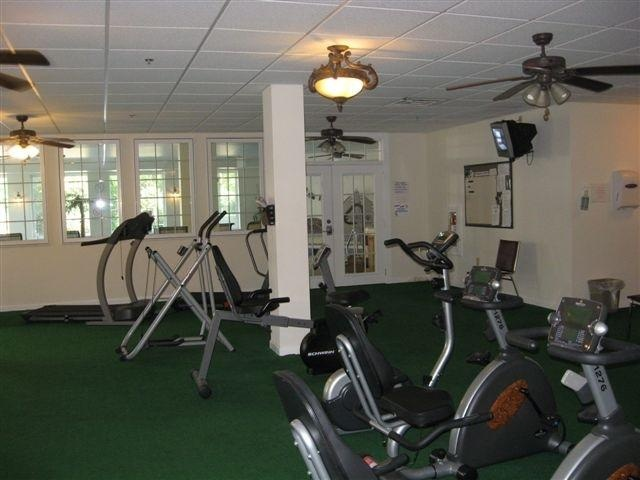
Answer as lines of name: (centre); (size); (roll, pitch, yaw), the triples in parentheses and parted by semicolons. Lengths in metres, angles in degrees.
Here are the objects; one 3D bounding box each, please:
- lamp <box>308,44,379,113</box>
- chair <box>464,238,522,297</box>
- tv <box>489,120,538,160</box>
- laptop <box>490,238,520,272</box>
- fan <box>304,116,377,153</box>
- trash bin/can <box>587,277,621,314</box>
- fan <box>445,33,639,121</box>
lamp: (0.227, -1.452, 4.375); (0.586, 0.585, 0.439); (2, 10, 24)
chair: (2.830, 0.464, 7.849); (0.672, 0.783, 0.539); (-8, 14, -13)
tv: (2.872, -1.506, 7.591); (0.664, 0.529, 0.797); (3, 5, -9)
laptop: (3.006, 0.253, 7.773); (0.335, 0.464, 0.736); (1, 9, 15)
fan: (0.176, -1.582, 7.487); (1.401, 0.566, 1.303); (-1, 8, 7)
trash bin/can: (4.212, 0.820, 7.205); (0.547, 0.411, 0.480); (-7, 6, 5)
fan: (2.047, -1.396, 4.289); (0.991, 0.684, 1.618); (15, 5, -37)
